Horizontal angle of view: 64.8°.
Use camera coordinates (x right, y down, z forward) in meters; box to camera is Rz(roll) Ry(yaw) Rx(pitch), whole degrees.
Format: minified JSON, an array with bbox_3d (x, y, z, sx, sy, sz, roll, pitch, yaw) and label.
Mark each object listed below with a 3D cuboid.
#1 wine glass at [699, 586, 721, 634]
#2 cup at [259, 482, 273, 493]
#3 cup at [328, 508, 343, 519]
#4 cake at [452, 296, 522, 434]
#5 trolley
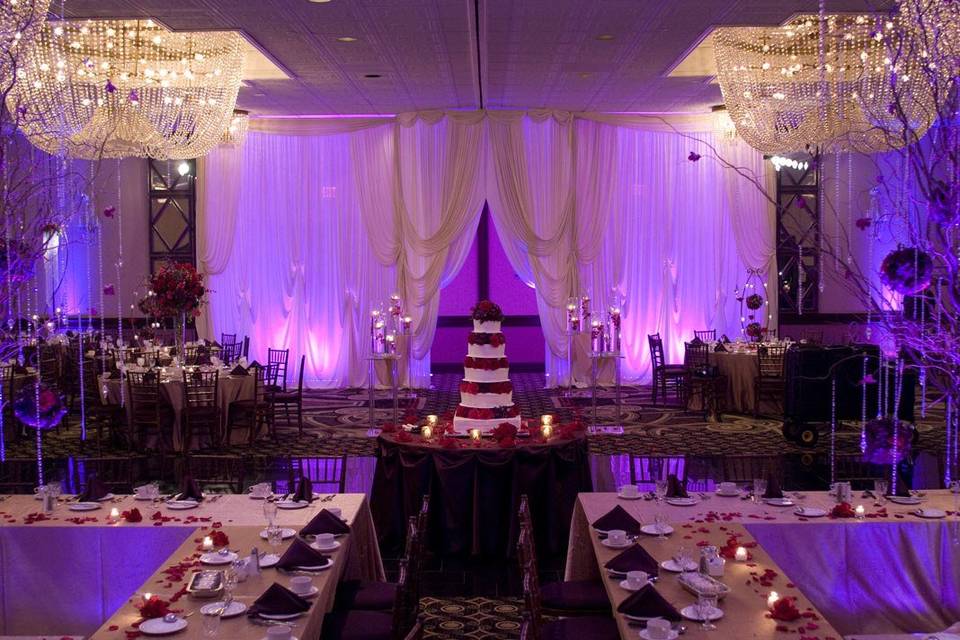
[{"bbox_3d":[1.295,1.615,4.232,0.157,0.258,0.153,0,-3,6],"label":"wine glass"},{"bbox_3d":[-1.608,1.271,5.708,0.080,0.093,0.081,-1,1,0],"label":"cup"},{"bbox_3d":[-1.035,1.404,5.475,0.068,0.058,0.078,-1,-5,3],"label":"cup"},{"bbox_3d":[0.075,0.527,8.059,0.926,1.417,0.951,0,1,29],"label":"cake"},{"bbox_3d":[5.262,1.040,10.815,1.813,1.394,1.123,-1,2,-5],"label":"trolley"}]
